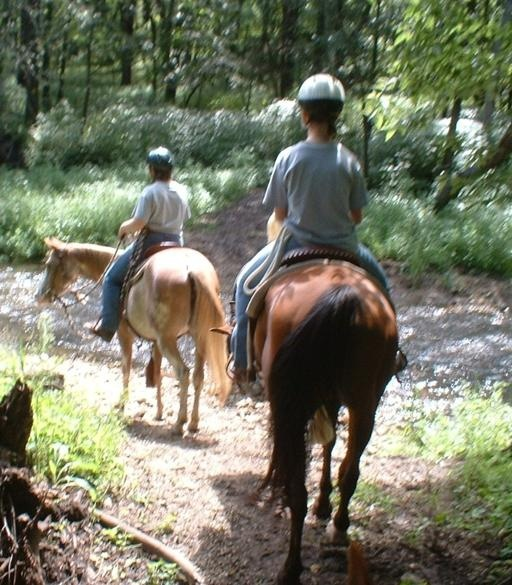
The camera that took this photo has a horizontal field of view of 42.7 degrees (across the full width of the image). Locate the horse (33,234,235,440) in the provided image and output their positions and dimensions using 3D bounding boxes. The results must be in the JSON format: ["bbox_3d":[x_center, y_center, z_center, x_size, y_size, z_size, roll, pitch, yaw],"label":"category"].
[{"bbox_3d":[-1.328,0.429,7.306,2.384,2.161,0.657,2,11,38],"label":"horse"}]

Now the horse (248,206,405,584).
[{"bbox_3d":[0.394,0.718,4.016,0.915,1.973,0.744,0,3,12],"label":"horse"}]
